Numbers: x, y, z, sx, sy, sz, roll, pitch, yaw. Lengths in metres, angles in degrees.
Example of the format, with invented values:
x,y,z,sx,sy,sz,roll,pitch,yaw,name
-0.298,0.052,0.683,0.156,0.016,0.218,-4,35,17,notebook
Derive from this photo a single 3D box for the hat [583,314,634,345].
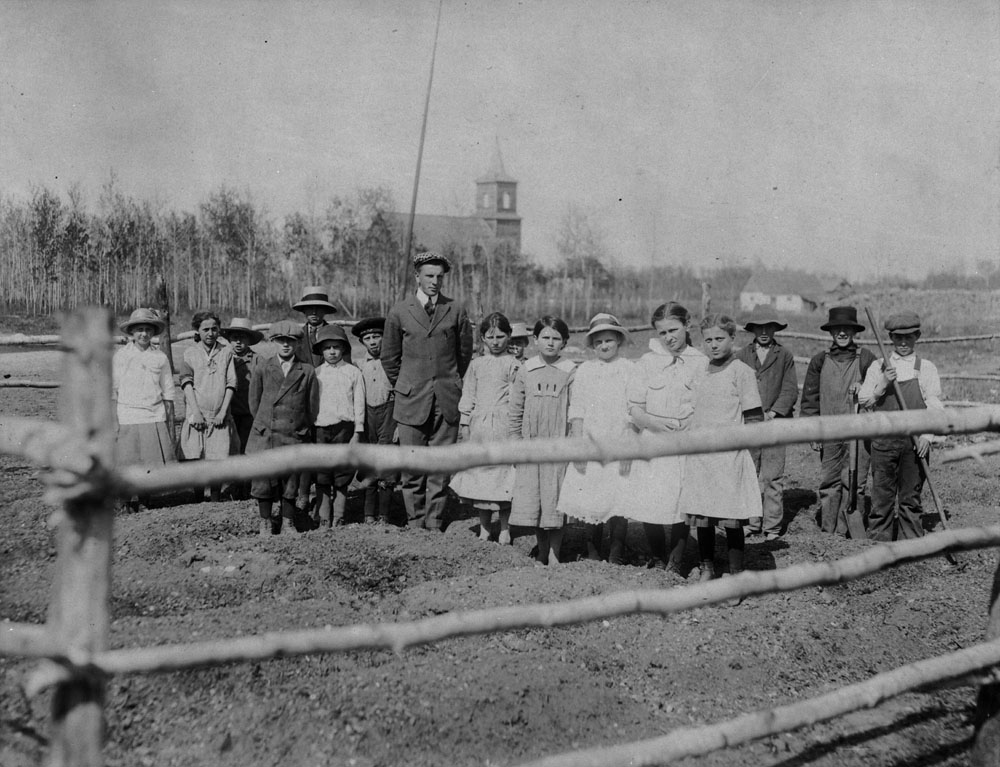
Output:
x,y,z,sx,sy,sz,roll,pitch,yaw,name
0.752,-0.410,6.237,0.243,0.203,0.523,-5,-2,3,hat

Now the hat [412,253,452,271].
x,y,z,sx,sy,sz,roll,pitch,yaw,name
-0.547,-0.971,6.888,0.272,0.145,0.328,-5,-2,-3,hat

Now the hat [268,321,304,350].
x,y,z,sx,sy,sz,roll,pitch,yaw,name
-1.727,-0.428,7.005,0.219,0.170,0.329,-5,-2,-19,hat

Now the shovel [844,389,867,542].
x,y,z,sx,sy,sz,roll,pitch,yaw,name
2.892,0.865,7.075,0.152,0.955,0.079,-15,25,-9,shovel

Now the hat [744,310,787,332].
x,y,z,sx,sy,sz,roll,pitch,yaw,name
2.374,-0.550,7.873,0.424,0.237,0.602,0,-2,10,hat
